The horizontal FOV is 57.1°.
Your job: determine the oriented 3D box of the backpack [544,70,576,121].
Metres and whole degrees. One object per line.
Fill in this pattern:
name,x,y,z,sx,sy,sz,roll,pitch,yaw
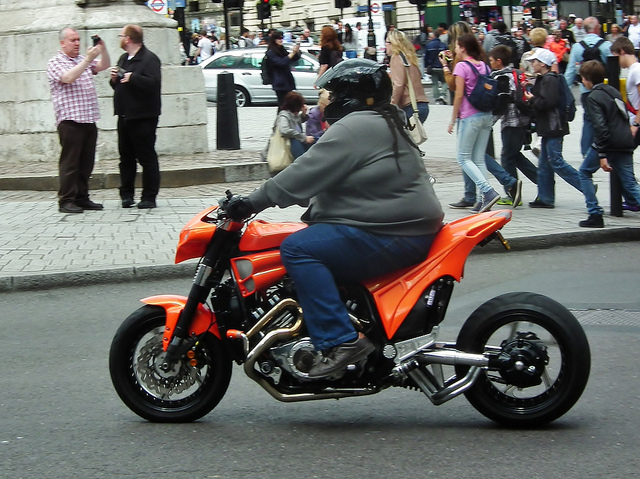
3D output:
backpack,3.630,-2.149,8.764,0.363,0.731,0.559,5,10,41

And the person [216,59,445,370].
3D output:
person,0.116,-0.163,3.110,1.164,1.623,0.515,-4,9,-9

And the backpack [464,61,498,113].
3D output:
backpack,2.317,-2.181,8.411,0.468,0.724,0.286,-1,9,8

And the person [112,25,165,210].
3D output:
person,-2.840,-1.887,9.117,0.636,2.845,0.715,-10,12,-40

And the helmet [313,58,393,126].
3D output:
helmet,0.175,-0.834,3.278,0.514,0.258,0.302,-6,16,-2

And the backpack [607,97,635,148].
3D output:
backpack,4.124,-1.579,7.985,0.398,0.670,0.178,-8,10,-36

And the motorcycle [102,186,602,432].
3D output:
motorcycle,0.158,0.402,3.288,3.055,1.029,0.965,-6,-13,21
